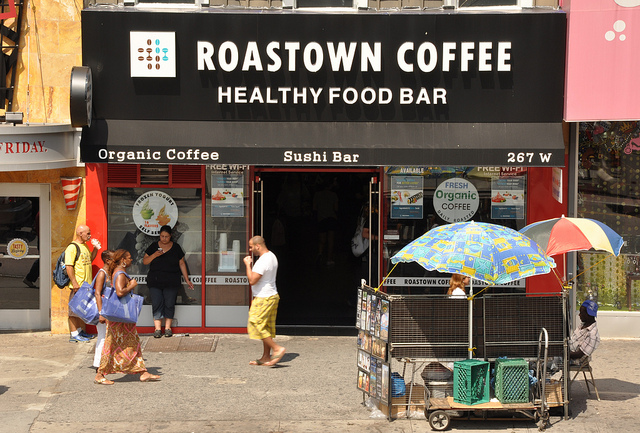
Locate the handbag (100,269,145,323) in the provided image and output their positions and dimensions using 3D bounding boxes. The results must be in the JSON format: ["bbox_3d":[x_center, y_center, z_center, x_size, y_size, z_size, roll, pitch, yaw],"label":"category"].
[{"bbox_3d":[-3.523,1.448,18.779,0.398,1.056,0.823,-10,-9,-17],"label":"handbag"}]

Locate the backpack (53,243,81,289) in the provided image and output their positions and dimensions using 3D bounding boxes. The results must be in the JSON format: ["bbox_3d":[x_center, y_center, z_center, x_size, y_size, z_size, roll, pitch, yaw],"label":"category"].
[{"bbox_3d":[-4.960,0.962,20.855,0.481,0.872,0.611,-2,6,4],"label":"backpack"}]

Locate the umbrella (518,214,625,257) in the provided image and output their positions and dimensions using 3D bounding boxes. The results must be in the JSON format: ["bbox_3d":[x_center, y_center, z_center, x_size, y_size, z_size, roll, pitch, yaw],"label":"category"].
[{"bbox_3d":[4.339,0.486,18.274,1.119,0.921,1.744,6,13,9],"label":"umbrella"}]

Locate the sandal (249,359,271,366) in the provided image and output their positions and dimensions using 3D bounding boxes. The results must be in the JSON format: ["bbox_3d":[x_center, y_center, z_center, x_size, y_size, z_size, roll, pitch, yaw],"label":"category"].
[{"bbox_3d":[-1.131,2.748,19.765,0.332,0.095,0.131,5,-7,0],"label":"sandal"}]

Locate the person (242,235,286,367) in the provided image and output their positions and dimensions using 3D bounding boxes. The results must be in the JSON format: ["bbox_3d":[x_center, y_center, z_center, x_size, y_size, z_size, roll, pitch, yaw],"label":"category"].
[{"bbox_3d":[-1.030,1.584,19.658,0.706,2.366,0.601,-1,12,-5],"label":"person"}]

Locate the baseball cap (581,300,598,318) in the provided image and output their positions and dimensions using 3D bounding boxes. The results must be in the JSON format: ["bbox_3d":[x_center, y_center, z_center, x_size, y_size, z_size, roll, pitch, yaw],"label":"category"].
[{"bbox_3d":[4.737,1.603,18.385,0.254,0.292,0.271,3,13,11],"label":"baseball cap"}]

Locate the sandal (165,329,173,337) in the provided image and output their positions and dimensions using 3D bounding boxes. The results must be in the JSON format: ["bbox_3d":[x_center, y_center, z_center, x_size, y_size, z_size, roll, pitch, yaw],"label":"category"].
[{"bbox_3d":[-3.068,2.350,21.279,0.120,0.129,0.312,0,-8,-4],"label":"sandal"}]

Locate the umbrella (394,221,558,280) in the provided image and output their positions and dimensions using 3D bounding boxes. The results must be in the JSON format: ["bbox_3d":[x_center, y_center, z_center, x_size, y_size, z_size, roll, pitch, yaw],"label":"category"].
[{"bbox_3d":[2.582,0.565,17.385,1.393,0.489,1.432,8,8,23],"label":"umbrella"}]

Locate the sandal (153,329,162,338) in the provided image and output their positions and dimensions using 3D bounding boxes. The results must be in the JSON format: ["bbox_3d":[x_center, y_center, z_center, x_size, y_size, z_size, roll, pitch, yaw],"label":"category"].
[{"bbox_3d":[-3.271,2.328,21.276,0.153,0.169,0.223,-2,13,-9],"label":"sandal"}]

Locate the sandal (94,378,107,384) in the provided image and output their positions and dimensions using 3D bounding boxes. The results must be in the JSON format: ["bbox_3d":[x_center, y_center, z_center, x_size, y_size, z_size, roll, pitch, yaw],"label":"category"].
[{"bbox_3d":[-3.913,2.902,18.713,0.225,0.105,0.113,0,13,0],"label":"sandal"}]

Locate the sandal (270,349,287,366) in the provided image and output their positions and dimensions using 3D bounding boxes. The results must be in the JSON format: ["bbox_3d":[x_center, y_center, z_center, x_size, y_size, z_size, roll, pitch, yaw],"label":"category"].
[{"bbox_3d":[-0.792,2.620,19.760,0.103,0.372,0.127,25,30,-8],"label":"sandal"}]

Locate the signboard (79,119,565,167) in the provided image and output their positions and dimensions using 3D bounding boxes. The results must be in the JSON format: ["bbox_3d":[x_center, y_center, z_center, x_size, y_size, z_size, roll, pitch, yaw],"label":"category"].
[{"bbox_3d":[0.103,-1.434,21.315,9.593,1.005,1.406,1,-1,2],"label":"signboard"}]

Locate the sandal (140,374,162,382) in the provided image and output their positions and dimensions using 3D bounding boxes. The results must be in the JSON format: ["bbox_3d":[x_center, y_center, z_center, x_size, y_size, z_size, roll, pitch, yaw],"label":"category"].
[{"bbox_3d":[-3.044,2.906,18.934,0.338,0.150,0.115,-13,18,-17],"label":"sandal"}]

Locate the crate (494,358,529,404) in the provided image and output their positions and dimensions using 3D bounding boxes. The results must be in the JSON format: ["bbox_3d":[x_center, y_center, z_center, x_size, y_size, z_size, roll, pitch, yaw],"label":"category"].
[{"bbox_3d":[3.240,2.734,17.824,0.626,0.738,0.493,0,19,0],"label":"crate"}]

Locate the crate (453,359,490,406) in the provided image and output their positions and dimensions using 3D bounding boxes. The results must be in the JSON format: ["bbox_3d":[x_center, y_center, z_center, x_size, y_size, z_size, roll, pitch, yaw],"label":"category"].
[{"bbox_3d":[2.564,2.784,17.695,0.581,0.646,0.577,0,-2,27],"label":"crate"}]
